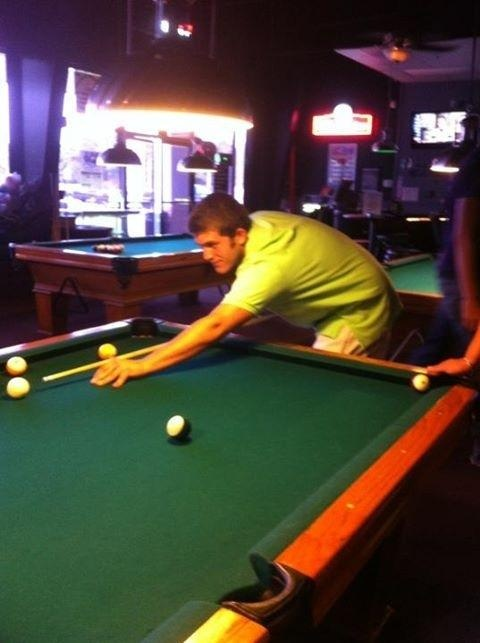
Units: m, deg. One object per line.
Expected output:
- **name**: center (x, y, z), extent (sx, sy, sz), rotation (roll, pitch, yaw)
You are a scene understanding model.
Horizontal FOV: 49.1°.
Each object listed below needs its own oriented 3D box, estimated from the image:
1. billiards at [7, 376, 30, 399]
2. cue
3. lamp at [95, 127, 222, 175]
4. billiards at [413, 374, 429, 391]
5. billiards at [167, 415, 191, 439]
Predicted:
- **billiards**: center (-0.678, 0.198, 1.634), extent (0.069, 0.066, 0.069), rotation (-22, 9, -15)
- **cue**: center (-0.376, 0.107, 2.252), extent (1.310, 0.047, 0.050), rotation (-15, 45, -42)
- **lamp**: center (-1.036, -2.400, 7.271), extent (1.392, 0.718, 2.130), rotation (2, 9, -3)
- **billiards**: center (0.587, 0.199, 1.722), extent (0.053, 0.048, 0.051), rotation (-3, -16, 16)
- **billiards**: center (-0.163, 0.259, 1.328), extent (0.036, 0.058, 0.056), rotation (38, 27, -38)
